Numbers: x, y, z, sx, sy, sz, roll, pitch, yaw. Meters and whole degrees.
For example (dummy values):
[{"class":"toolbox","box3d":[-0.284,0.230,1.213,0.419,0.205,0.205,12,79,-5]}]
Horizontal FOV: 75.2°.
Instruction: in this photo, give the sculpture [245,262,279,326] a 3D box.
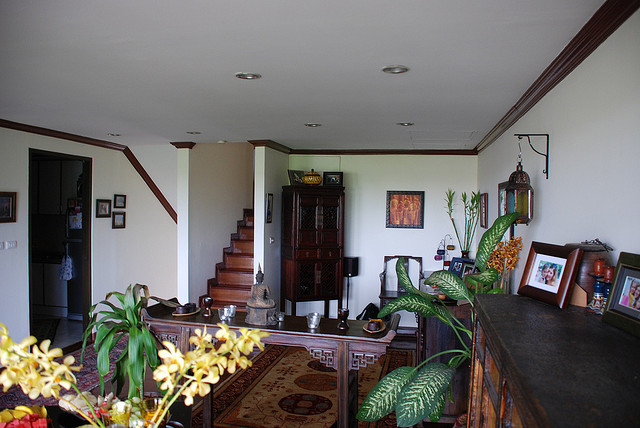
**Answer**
[{"class":"sculpture","box3d":[-0.517,0.728,3.642,0.286,0.469,0.176,1,2,8]}]

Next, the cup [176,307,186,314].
[{"class":"cup","box3d":[-1.252,0.867,3.717,0.058,0.044,0.059,1,3,0]}]

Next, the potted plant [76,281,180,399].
[{"class":"potted plant","box3d":[-1.406,1.055,3.006,0.557,0.703,0.530,6,2,30]}]

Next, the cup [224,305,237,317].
[{"class":"cup","box3d":[-0.806,0.880,3.744,0.125,0.095,0.124,1,3,0]}]

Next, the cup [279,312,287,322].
[{"class":"cup","box3d":[-0.338,0.917,3.666,0.069,0.081,0.076,2,1,12]}]

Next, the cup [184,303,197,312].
[{"class":"cup","box3d":[-1.188,0.856,3.798,0.071,0.069,0.072,1,5,0]}]

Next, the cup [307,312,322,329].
[{"class":"cup","box3d":[-0.053,0.900,3.474,0.120,0.087,0.112,1,-3,0]}]

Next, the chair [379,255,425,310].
[{"class":"chair","box3d":[1.222,1.199,6.240,0.640,1.064,0.611,3,4,14]}]
